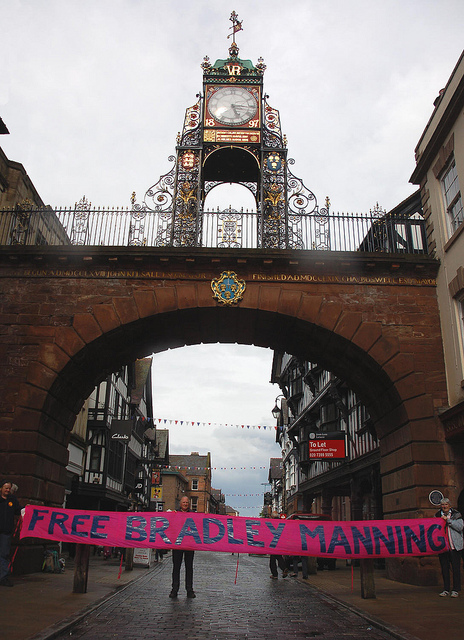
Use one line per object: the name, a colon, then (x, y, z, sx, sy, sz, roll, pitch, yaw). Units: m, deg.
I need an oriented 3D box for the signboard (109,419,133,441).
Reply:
signboard: (-6.011, 5.908, 25.647, 1.747, 1.123, 0.905, -18, -25, 42)

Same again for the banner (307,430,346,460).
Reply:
banner: (4.166, 5.467, 20.659, 1.849, 1.541, 0.273, 0, -30, 2)

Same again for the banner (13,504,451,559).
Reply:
banner: (0.132, 3.649, 8.177, 7.208, 0.820, 0.565, 0, -19, -2)

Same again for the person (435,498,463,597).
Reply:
person: (3.856, 3.994, 8.379, 0.517, 1.573, 0.955, -7, -20, 20)

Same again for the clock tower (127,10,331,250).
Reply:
clock tower: (-0.044, -6.438, 15.936, 6.881, 9.047, 1.068, 2, -17, -1)

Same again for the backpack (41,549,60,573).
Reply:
backpack: (-4.416, 5.887, 11.585, 0.445, 0.495, 0.450, 0, -6, 2)

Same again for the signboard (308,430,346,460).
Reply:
signboard: (4.163, 5.454, 20.643, 1.389, 1.216, 0.488, 1, -27, 0)
